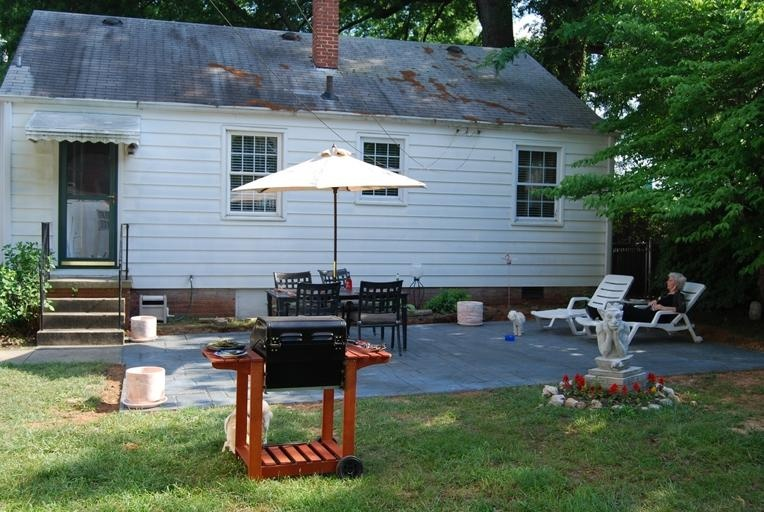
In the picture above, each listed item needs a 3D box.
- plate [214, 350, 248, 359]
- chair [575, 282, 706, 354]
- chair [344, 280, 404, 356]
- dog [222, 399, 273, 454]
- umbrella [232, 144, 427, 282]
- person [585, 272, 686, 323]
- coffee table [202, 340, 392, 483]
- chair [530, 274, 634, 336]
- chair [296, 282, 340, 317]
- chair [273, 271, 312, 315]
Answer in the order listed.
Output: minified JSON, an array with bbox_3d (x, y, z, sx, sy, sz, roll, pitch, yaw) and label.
[{"bbox_3d":[-1.634,1.050,7.319,0.349,0.063,0.189,1,2,-9],"label":"plate"},{"bbox_3d":[5.306,1.177,13.039,2.861,1.333,1.386,0,1,-8],"label":"chair"},{"bbox_3d":[-0.080,1.093,12.237,1.022,1.231,1.011,2,-1,-28],"label":"chair"},{"bbox_3d":[-1.550,1.971,7.989,0.326,0.496,0.967,2,-1,5],"label":"dog"},{"bbox_3d":[-1.075,-0.713,11.704,2.461,2.180,3.322,1,2,-16],"label":"umbrella"},{"bbox_3d":[5.137,0.790,13.119,1.953,0.802,0.905,-3,2,-9],"label":"person"},{"bbox_3d":[-0.953,1.691,7.506,1.799,1.388,0.584,1,3,-9],"label":"coffee table"},{"bbox_3d":[4.476,1.007,14.097,2.160,1.081,1.266,-2,3,-17],"label":"chair"},{"bbox_3d":[-1.085,0.726,11.436,0.609,0.946,0.659,0,11,-12],"label":"chair"},{"bbox_3d":[-1.776,0.687,13.151,0.774,1.122,0.823,0,4,-23],"label":"chair"}]
